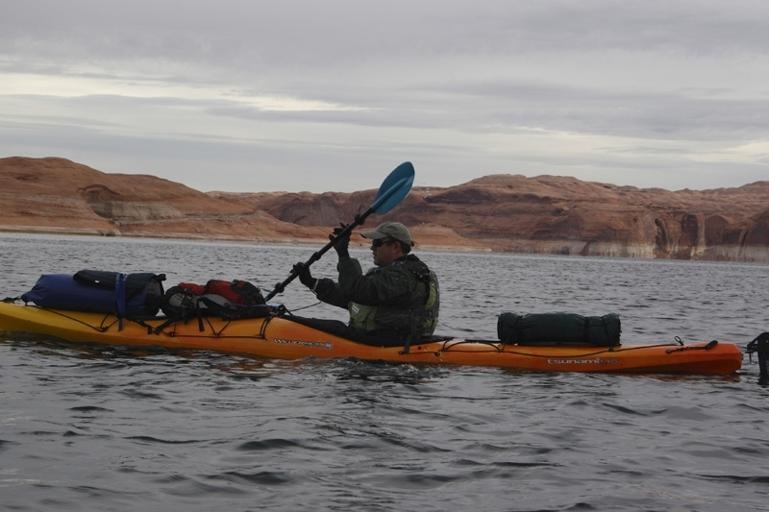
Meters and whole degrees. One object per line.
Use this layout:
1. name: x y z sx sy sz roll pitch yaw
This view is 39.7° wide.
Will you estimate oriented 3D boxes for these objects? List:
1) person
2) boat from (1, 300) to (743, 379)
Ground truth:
1. person: -0.128 0.368 14.577 1.785 1.692 1.043 3 3 -33
2. boat: -0.462 1.206 15.024 10.517 0.486 1.006 2 -4 1
